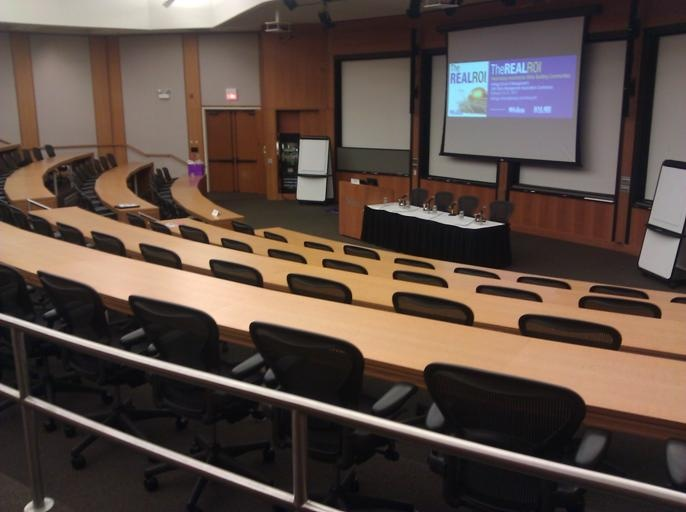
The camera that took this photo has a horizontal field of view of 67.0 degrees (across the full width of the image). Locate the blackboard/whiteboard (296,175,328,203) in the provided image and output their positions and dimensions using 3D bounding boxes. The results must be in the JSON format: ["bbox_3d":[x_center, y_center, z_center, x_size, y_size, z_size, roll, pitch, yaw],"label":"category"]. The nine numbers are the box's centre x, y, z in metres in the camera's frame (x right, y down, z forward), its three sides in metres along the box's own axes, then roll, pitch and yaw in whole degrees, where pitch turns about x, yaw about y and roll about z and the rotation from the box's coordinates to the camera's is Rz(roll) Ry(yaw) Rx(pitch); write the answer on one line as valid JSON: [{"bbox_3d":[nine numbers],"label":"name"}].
[{"bbox_3d":[-0.772,-1.754,13.500,1.061,0.936,0.579,5,10,22],"label":"blackboard/whiteboard"}]
